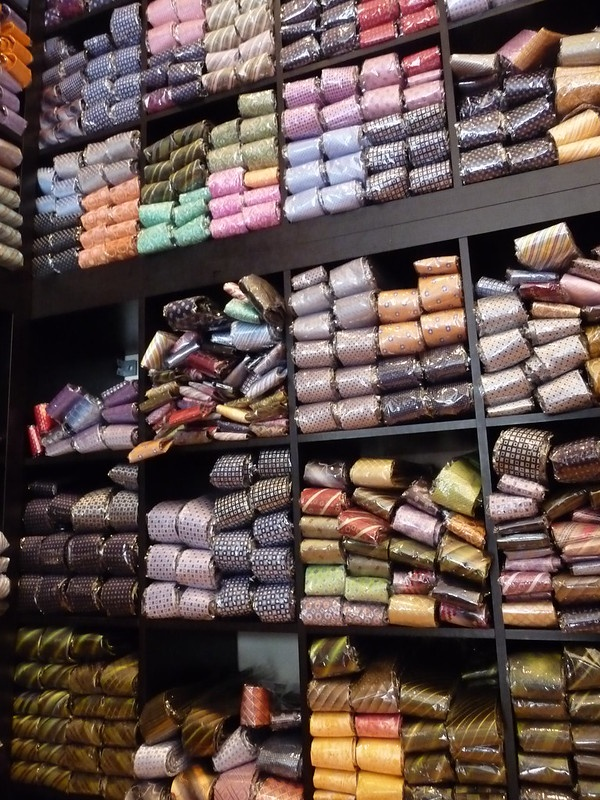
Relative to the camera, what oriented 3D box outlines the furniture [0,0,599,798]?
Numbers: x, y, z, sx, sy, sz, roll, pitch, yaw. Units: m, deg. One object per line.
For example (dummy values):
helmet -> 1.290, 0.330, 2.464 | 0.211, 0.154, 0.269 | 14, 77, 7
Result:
furniture -> -0.023, 0.063, 1.986 | 1.650, 1.615, 0.601 | -7, 3, 26
